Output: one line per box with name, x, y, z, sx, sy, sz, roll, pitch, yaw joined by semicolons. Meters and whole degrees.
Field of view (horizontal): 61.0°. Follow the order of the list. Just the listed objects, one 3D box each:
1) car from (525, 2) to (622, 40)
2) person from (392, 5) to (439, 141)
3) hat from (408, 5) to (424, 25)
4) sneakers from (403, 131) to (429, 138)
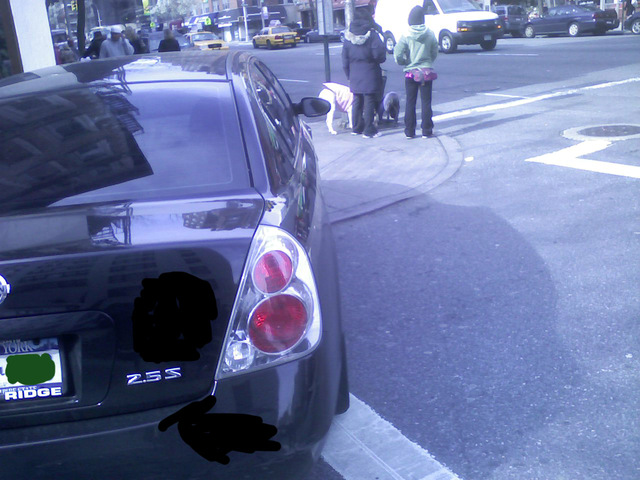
car;13.235;-11.551;28.852;1.179;1.582;4.087;-19;24;-37
person;1.634;-2.828;9.303;0.707;2.153;0.605;0;21;10
hat;1.607;-3.724;9.087;0.253;0.314;0.369;-2;19;5
sneakers;1.713;-1.835;9.529;0.424;0.152;0.133;0;16;7
